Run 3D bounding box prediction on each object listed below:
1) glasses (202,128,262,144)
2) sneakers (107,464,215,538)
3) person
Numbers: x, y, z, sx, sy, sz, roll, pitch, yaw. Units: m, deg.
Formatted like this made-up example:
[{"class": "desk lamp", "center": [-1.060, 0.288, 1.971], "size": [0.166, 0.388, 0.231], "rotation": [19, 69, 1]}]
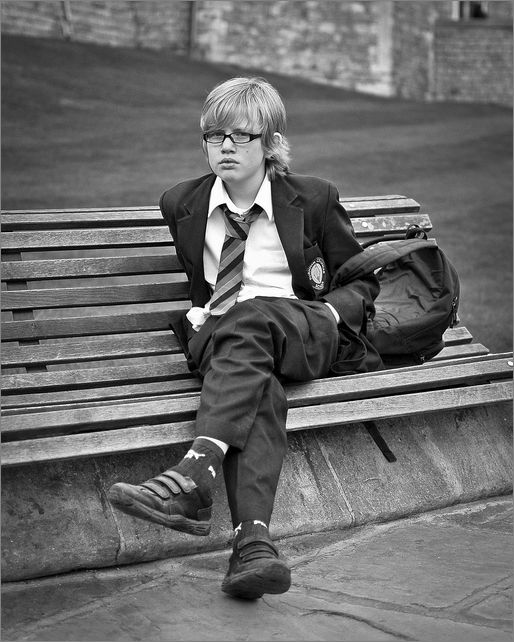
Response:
[{"class": "glasses", "center": [-0.072, -0.587, 2.255], "size": [0.182, 0.043, 0.048], "rotation": [-3, 23, -5]}, {"class": "sneakers", "center": [-0.224, 0.417, 1.649], "size": [0.311, 0.141, 0.101], "rotation": [23, -6, -43]}, {"class": "person", "center": [-0.033, -0.063, 2.027], "size": [0.794, 1.134, 1.322], "rotation": [3, 24, 8]}]
